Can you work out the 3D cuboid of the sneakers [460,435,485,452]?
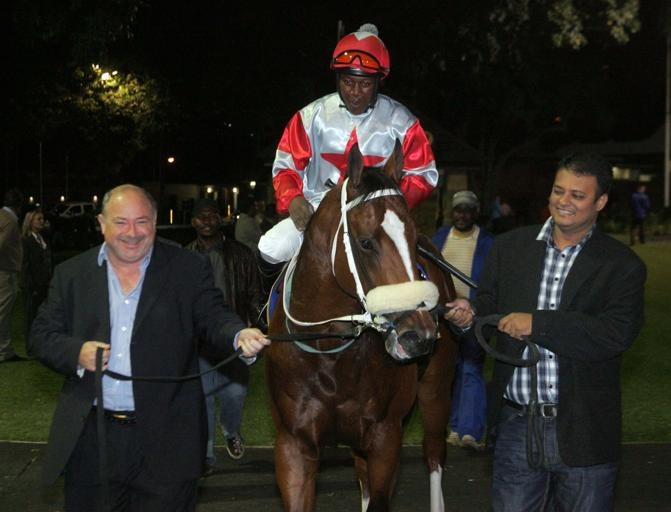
[{"bbox_3d":[1.207,1.681,6.456,0.160,0.111,0.067,19,-19,26],"label":"sneakers"}]

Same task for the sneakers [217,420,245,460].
[{"bbox_3d":[-0.878,1.552,6.160,0.110,0.148,0.340,2,17,-24],"label":"sneakers"}]

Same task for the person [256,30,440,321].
[{"bbox_3d":[0.089,-0.606,4.698,1.140,1.851,0.956,1,19,-6],"label":"person"}]

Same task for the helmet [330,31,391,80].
[{"bbox_3d":[0.157,-1.308,4.677,0.367,0.292,0.458,9,13,5],"label":"helmet"}]
